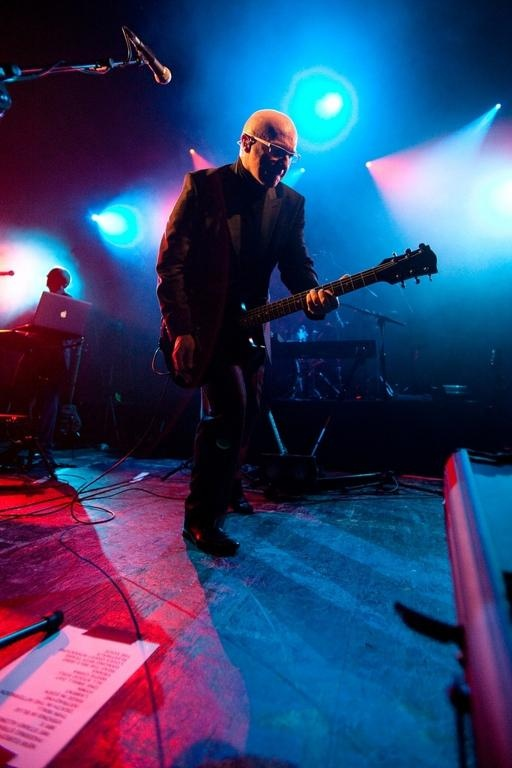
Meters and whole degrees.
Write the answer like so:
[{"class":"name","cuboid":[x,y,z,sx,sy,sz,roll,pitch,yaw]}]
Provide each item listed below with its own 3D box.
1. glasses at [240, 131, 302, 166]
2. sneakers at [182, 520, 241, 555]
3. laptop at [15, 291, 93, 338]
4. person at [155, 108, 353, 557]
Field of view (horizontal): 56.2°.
[{"class":"glasses","cuboid":[0.039,-1.021,2.060,0.172,0.054,0.167,38,30,21]},{"class":"sneakers","cuboid":[-0.160,0.595,1.876,0.254,0.167,0.087,-18,-17,37]},{"class":"laptop","cuboid":[-1.459,-0.430,3.489,0.295,0.311,0.428,25,5,34]},{"class":"person","cuboid":[-0.069,-0.263,2.138,0.472,1.836,0.765,-1,-3,40]}]
